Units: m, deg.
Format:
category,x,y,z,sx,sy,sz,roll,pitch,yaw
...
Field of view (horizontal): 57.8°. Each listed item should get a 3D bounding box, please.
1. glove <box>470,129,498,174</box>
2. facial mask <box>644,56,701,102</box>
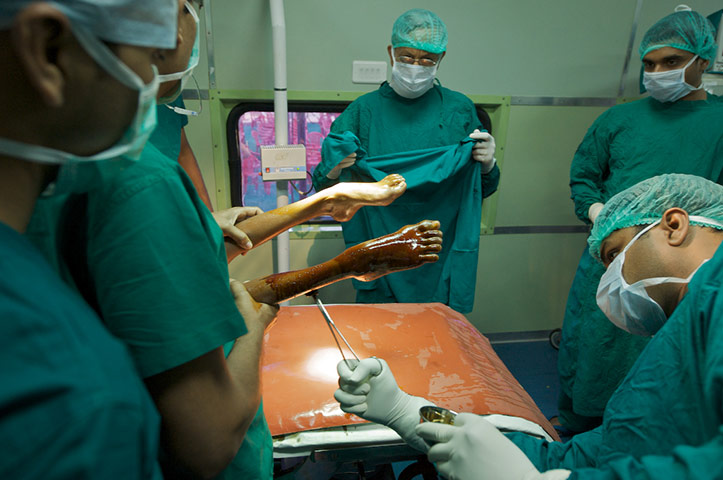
category,x,y,z,sx,sy,sz,roll,pitch,yaw
glove,0.617,-0.456,3.351,0.129,0.215,0.160,8,19,22
facial mask,1.529,-0.770,3.256,0.202,0.147,0.210,-38,17,-4
